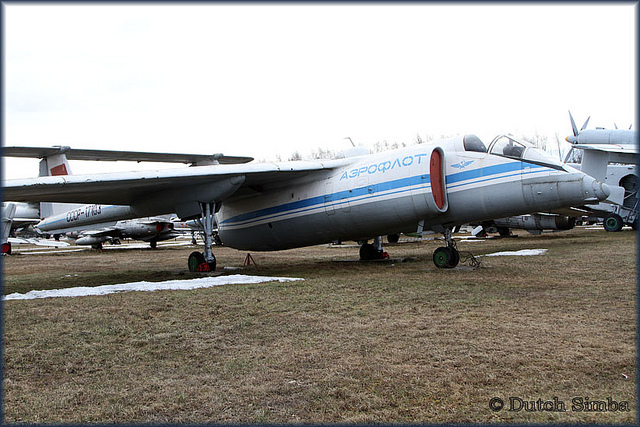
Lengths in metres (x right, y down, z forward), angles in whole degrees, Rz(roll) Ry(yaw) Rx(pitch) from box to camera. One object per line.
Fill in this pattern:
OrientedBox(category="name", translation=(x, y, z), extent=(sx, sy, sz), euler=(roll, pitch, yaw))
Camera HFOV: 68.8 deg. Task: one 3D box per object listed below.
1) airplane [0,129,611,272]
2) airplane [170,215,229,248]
OrientedBox(category="airplane", translation=(-0.832, -0.271, 14.874), extent=(17.048, 4.347, 6.098), euler=(1, 14, 9))
OrientedBox(category="airplane", translation=(-6.533, 1.044, 24.995), extent=(3.105, 0.835, 2.907), euler=(8, 5, -40))
